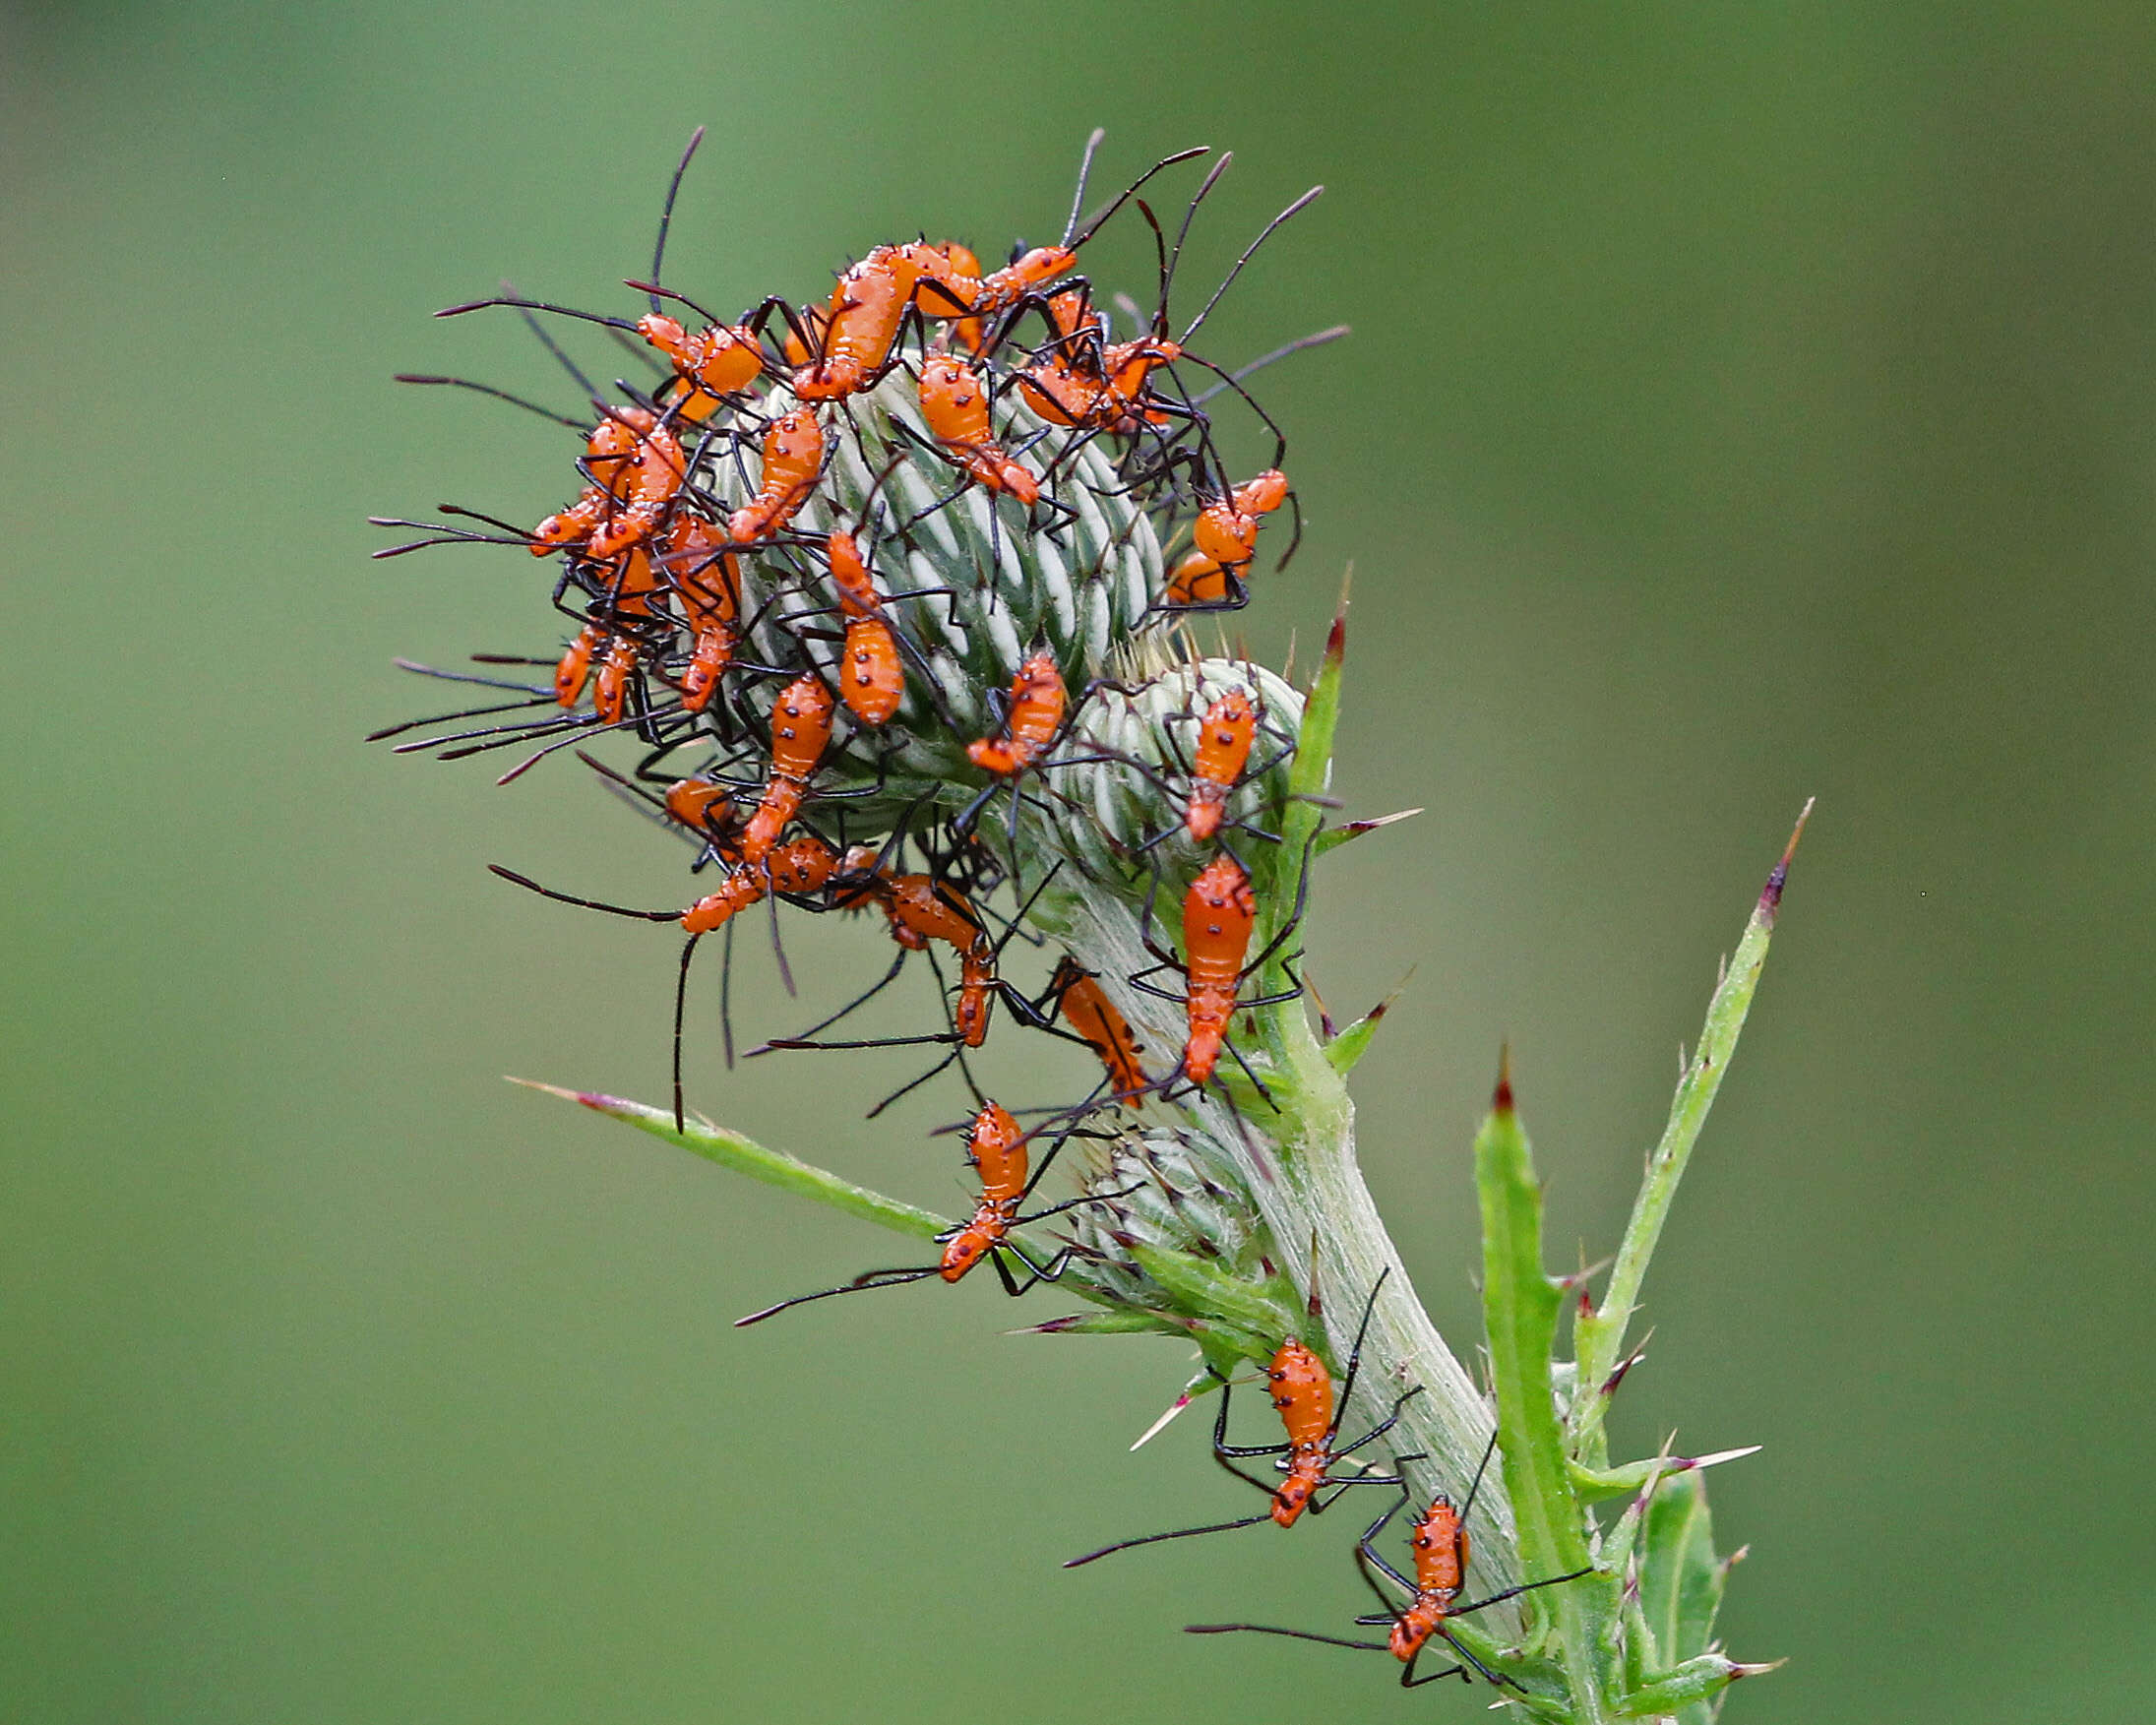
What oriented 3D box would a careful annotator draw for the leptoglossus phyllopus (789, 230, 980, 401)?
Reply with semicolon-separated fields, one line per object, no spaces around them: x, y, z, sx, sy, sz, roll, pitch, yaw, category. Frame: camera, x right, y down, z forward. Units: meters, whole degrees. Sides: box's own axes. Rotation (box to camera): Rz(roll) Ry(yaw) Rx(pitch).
-0.425;-1.137;5.032;0.280;0.416;0.144;19;-35;19;leptoglossus phyllopus

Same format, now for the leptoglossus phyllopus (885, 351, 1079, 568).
-0.212;-0.867;4.969;0.117;0.295;0.301;-26;-75;45;leptoglossus phyllopus
